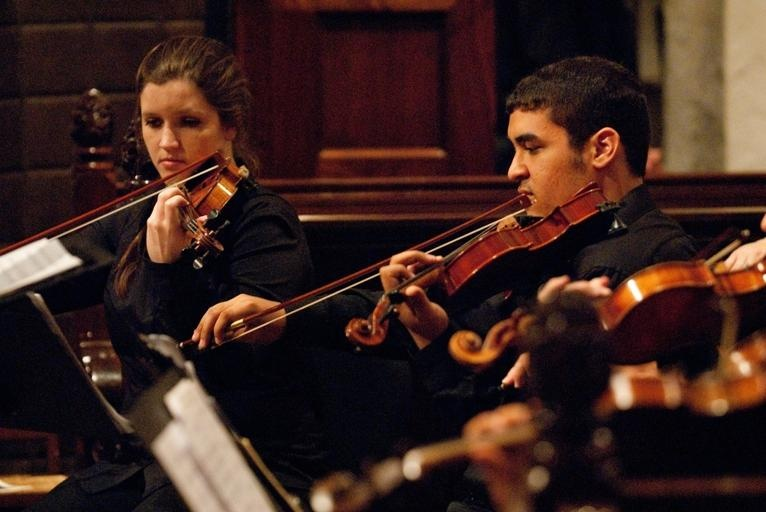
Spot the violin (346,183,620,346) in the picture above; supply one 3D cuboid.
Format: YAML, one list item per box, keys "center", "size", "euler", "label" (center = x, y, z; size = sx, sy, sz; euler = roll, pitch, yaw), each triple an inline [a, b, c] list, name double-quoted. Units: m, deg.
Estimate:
- center: [0.180, -0.002, 2.318]
  size: [0.895, 0.141, 0.355]
  euler: [-29, -6, -7]
  label: "violin"

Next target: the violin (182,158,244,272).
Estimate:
- center: [-0.512, -0.149, 2.419]
  size: [0.194, 0.338, 0.108]
  euler: [-27, -55, 37]
  label: "violin"
